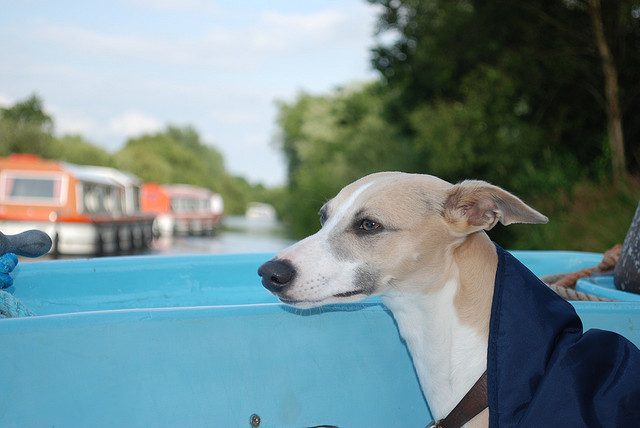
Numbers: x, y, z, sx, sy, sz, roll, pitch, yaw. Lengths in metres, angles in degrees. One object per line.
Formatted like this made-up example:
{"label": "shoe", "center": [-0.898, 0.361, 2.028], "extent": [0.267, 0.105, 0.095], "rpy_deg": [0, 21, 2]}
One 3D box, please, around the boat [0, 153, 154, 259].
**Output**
{"label": "boat", "center": [-3.925, -0.125, 15.189], "extent": [1.531, 0.874, 2.364], "rpy_deg": [1, -4, 5]}
